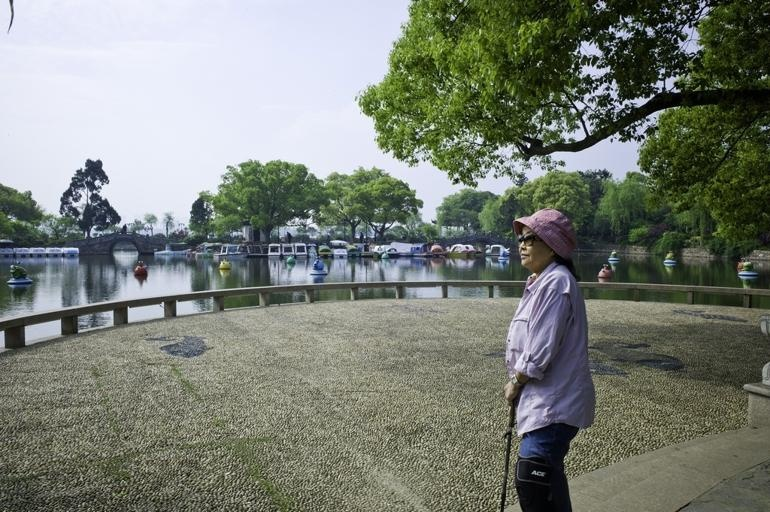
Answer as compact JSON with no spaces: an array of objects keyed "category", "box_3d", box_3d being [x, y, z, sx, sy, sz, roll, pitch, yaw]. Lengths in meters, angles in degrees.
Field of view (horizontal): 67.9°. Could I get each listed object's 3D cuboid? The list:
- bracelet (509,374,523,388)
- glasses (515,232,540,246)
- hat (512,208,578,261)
[{"category":"bracelet","box_3d":[1.287,1.200,5.600,0.107,0.113,0.108,20,-19,35]},{"category":"glasses","box_3d":[1.428,-0.170,5.726,0.124,0.060,0.156,-8,-11,38]},{"category":"hat","box_3d":[1.659,-0.278,5.892,0.775,0.416,0.591,28,10,7]}]
